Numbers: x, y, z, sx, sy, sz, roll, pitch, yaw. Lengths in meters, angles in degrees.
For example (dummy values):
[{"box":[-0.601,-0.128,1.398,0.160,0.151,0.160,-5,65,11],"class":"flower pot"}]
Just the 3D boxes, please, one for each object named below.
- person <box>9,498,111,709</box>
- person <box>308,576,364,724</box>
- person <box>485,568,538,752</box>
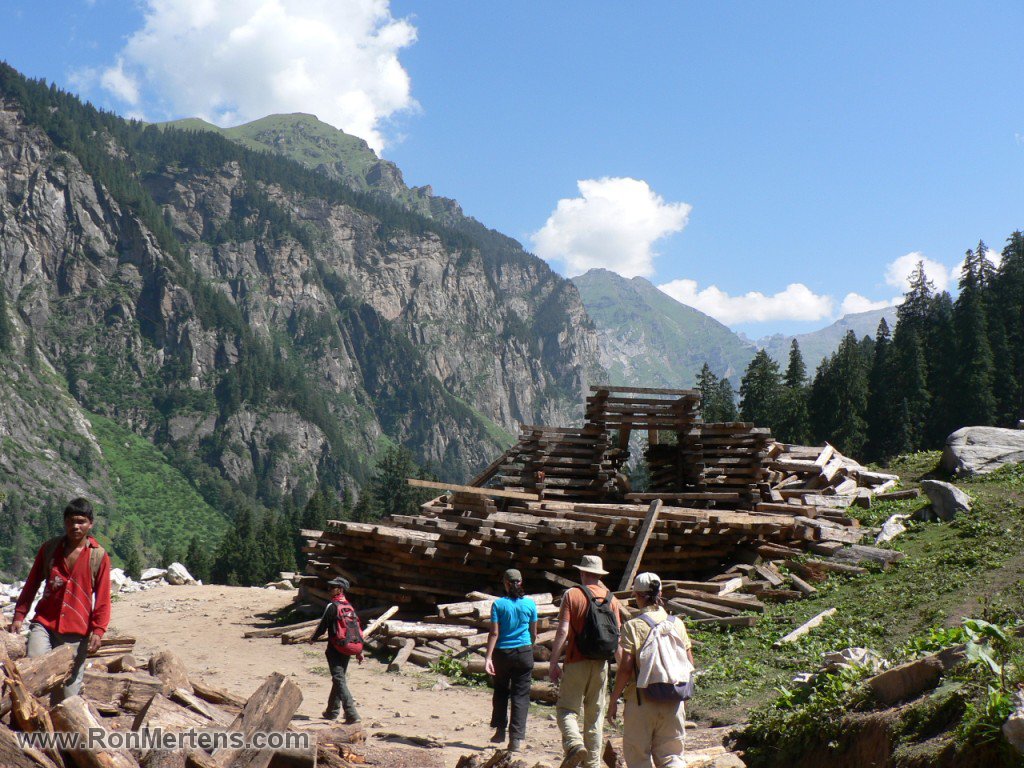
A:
[{"box":[-6.068,2.836,11.733,1.161,2.894,1.328,-3,0,-33],"class":"person"},{"box":[-2.922,4.494,14.695,0.733,2.461,0.980,-3,0,-14],"class":"person"},{"box":[-0.001,4.381,13.644,0.816,2.850,1.502,-3,0,-2],"class":"person"}]
